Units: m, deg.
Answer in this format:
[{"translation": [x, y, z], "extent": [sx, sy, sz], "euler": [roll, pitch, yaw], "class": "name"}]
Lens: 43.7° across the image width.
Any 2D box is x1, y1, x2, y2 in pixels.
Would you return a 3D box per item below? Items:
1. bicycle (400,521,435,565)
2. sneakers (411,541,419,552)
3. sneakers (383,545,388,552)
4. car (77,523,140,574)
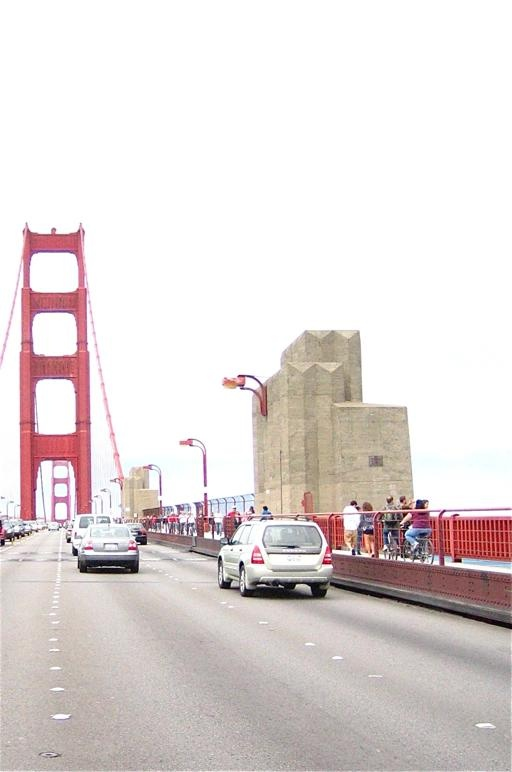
[{"translation": [3.655, 3.543, 14.253], "extent": [0.410, 0.580, 0.920], "euler": [2, -4, -11], "class": "bicycle"}, {"translation": [3.625, 3.601, 14.333], "extent": [0.083, 0.263, 0.184], "euler": [10, 33, 0], "class": "sneakers"}, {"translation": [3.207, 3.981, 15.729], "extent": [0.105, 0.118, 0.154], "euler": [-2, -5, 5], "class": "sneakers"}, {"translation": [-5.027, 5.359, 21.937], "extent": [1.105, 0.959, 2.686], "euler": [1, -1, -8], "class": "car"}]
